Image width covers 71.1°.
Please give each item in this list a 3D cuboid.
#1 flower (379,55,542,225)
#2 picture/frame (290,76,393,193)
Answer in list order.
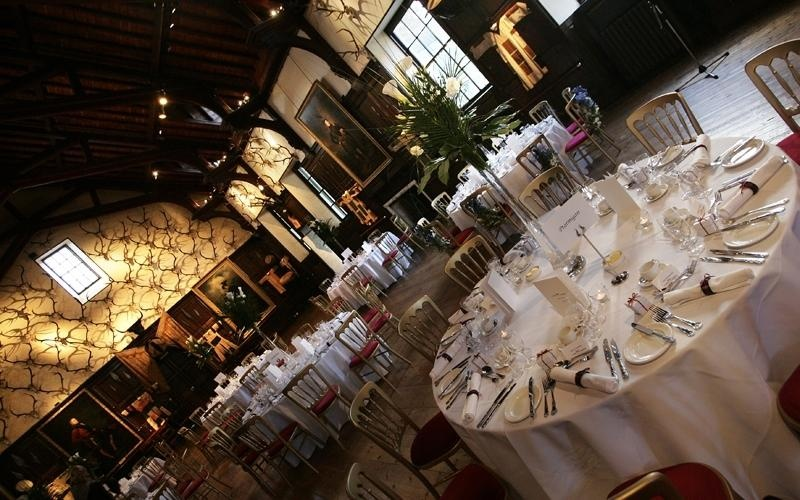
[{"bbox_3d":[0.524,-1.556,6.854,1.062,2.311,1.614,-56,19,-19],"label":"flower"},{"bbox_3d":[-1.315,-2.828,13.208,0.235,3.206,2.174,-46,0,-29],"label":"picture/frame"}]
